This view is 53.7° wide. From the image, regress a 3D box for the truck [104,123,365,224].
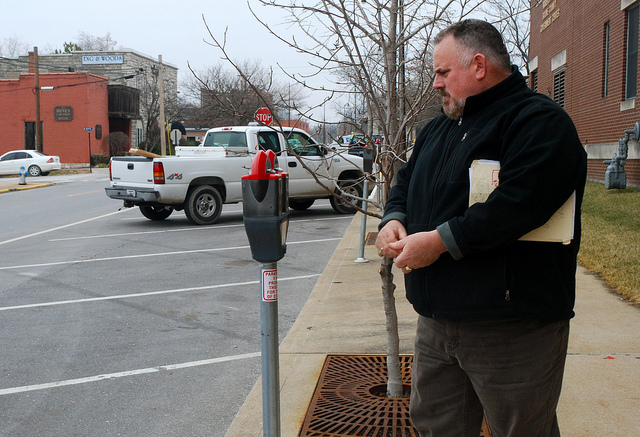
[{"bbox_3d":[-1.331,-1.100,14.821,5.380,1.870,2.237,-5,7,-23],"label":"truck"}]
